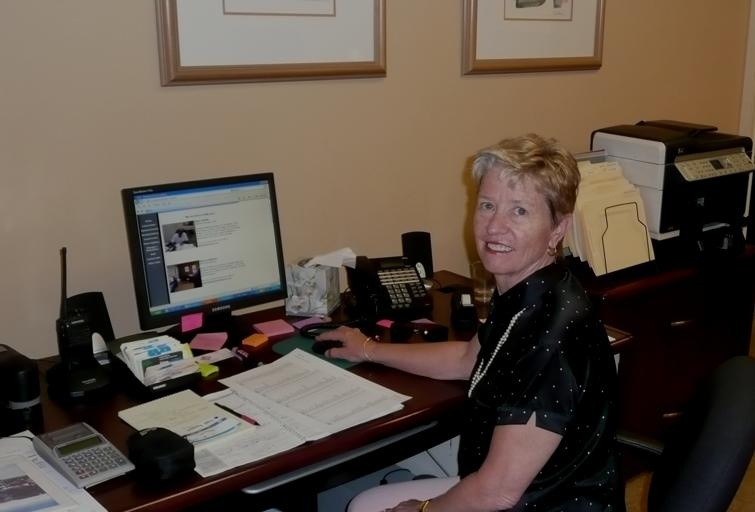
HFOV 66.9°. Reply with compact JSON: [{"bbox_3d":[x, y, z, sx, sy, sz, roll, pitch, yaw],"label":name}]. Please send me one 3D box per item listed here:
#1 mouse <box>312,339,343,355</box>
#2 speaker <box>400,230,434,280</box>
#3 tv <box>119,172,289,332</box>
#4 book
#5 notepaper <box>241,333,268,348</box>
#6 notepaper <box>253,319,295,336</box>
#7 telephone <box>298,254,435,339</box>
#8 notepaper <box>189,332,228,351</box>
[{"bbox_3d":[-0.175,0.302,1.910,0.071,0.018,0.051,-10,32,-21],"label":"mouse"},{"bbox_3d":[0.177,-0.005,2.360,0.135,0.192,0.050,0,1,-11],"label":"speaker"},{"bbox_3d":[-0.600,-0.032,1.976,0.595,0.513,0.111,-12,20,-38],"label":"tv"},{"bbox_3d":[-0.531,0.453,1.571,0.339,0.070,0.195,2,12,38],"label":"book"},{"bbox_3d":[-0.424,0.284,1.966,0.051,0.018,0.054,7,19,25],"label":"notepaper"},{"bbox_3d":[-0.365,0.257,2.049,0.067,0.013,0.073,-11,29,-31],"label":"notepaper"},{"bbox_3d":[-0.018,0.090,2.248,0.426,0.259,0.303,-8,20,-25],"label":"telephone"},{"bbox_3d":[-0.572,0.293,1.953,0.060,0.017,0.065,4,24,2],"label":"notepaper"}]
